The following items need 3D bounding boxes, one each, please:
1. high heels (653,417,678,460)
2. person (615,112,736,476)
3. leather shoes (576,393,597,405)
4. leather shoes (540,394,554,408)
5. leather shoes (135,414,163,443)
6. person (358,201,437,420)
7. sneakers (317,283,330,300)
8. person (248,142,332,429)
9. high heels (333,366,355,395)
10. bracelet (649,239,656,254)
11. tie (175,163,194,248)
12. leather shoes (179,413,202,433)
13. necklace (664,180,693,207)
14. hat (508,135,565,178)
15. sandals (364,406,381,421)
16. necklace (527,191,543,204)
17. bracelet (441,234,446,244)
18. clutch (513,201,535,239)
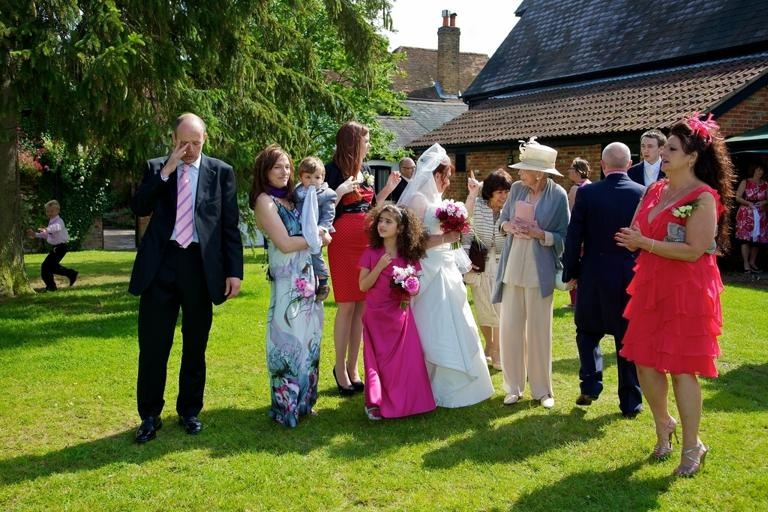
[{"bbox_3d":[2.783,1.765,6.334,0.171,0.198,0.498,-26,3,33],"label":"high heels"},{"bbox_3d":[2.781,0.334,6.191,0.855,3.318,0.725,4,6,28],"label":"person"},{"bbox_3d":[2.299,1.603,7.212,0.258,0.122,0.105,-2,10,34],"label":"leather shoes"},{"bbox_3d":[1.863,1.651,7.358,0.132,0.087,0.331,-1,-2,6],"label":"leather shoes"},{"bbox_3d":[-2.442,1.789,6.687,0.133,0.118,0.335,2,1,-1],"label":"leather shoes"},{"bbox_3d":[0.136,0.626,7.134,0.783,2.301,0.508,0,6,-3],"label":"person"},{"bbox_3d":[-0.686,0.404,7.186,0.180,0.139,0.128,-7,13,-18],"label":"sneakers"},{"bbox_3d":[-1.007,0.319,6.998,0.843,2.978,0.505,0,6,-6],"label":"person"},{"bbox_3d":[-0.507,1.528,7.825,0.143,0.161,0.423,-5,13,-26],"label":"high heels"},{"bbox_3d":[2.503,-0.086,5.997,0.027,0.097,0.082,11,4,5],"label":"bracelet"},{"bbox_3d":[-2.030,-0.500,6.554,0.202,0.819,0.172,-2,6,-26],"label":"tie"},{"bbox_3d":[-2.040,1.771,6.846,0.127,0.109,0.279,-5,-2,-39],"label":"leather shoes"},{"bbox_3d":[2.803,-0.583,6.169,0.179,0.241,0.086,29,14,38],"label":"necklace"},{"bbox_3d":[1.791,-1.126,7.497,0.678,0.332,0.629,8,18,-6],"label":"hat"},{"bbox_3d":[-0.116,1.714,7.034,0.158,0.183,0.191,-2,4,-5],"label":"sandals"},{"bbox_3d":[1.746,-0.658,7.511,0.120,0.154,0.082,17,13,27],"label":"necklace"},{"bbox_3d":[0.682,-0.181,7.326,0.053,0.085,0.021,2,6,10],"label":"bracelet"},{"bbox_3d":[1.613,-0.406,7.352,0.231,0.395,0.145,1,6,7],"label":"clutch"}]
